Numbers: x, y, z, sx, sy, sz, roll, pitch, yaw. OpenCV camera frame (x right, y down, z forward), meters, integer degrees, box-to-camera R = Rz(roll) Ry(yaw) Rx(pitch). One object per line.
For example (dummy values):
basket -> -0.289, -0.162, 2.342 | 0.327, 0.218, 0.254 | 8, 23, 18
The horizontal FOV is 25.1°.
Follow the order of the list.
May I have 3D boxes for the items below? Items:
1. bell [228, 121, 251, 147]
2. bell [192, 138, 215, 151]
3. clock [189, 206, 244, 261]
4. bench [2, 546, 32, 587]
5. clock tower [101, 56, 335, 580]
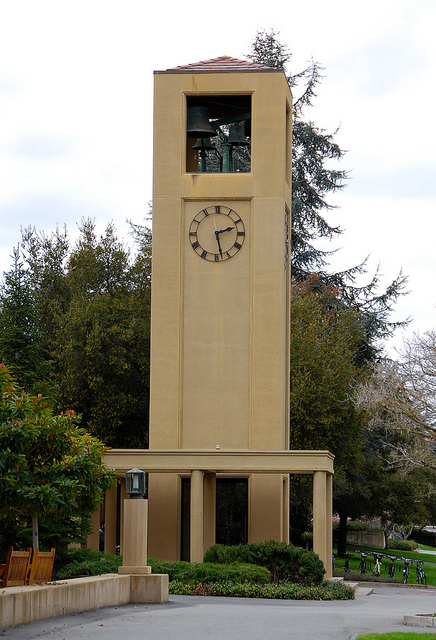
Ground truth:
bell -> 0.595, -5.549, 29.505 | 0.670, 0.701, 0.662 | 0, -9, -4
bell -> -0.449, -5.214, 29.273 | 0.503, 0.522, 0.496 | 2, -7, -9
clock -> 0.005, -2.395, 27.923 | 1.579, 1.611, 0.100 | 1, -6, 10
bench -> -3.077, 3.780, 14.946 | 0.255, 0.628, 1.281 | 0, -10, -1
clock tower -> 0.019, -0.907, 27.748 | 4.585, 15.045, 5.511 | 0, -9, 0
